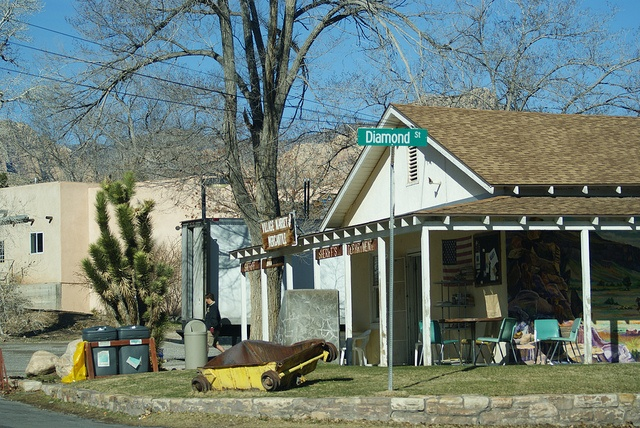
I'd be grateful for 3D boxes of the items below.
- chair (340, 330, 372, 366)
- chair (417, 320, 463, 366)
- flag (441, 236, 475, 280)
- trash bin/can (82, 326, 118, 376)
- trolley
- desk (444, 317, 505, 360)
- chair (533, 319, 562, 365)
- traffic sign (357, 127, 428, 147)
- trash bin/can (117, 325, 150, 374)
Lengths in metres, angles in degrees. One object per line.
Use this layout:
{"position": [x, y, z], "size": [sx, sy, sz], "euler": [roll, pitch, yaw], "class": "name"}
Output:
{"position": [1.272, 5.047, 44.104], "size": [1.223, 1.726, 1.177], "euler": [1, -5, -8], "class": "chair"}
{"position": [3.993, 4.393, 40.513], "size": [1.584, 2.282, 1.594], "euler": [-4, -9, 13], "class": "chair"}
{"position": [4.984, 1.593, 41.603], "size": [0.084, 2.047, 1.463], "euler": [-1, 0, -42], "class": "flag"}
{"position": [-7.550, 4.701, 40.125], "size": [1.065, 1.738, 1.053], "euler": [2, 4, -4], "class": "trash bin/can"}
{"position": [-1.759, 4.559, 36.198], "size": [3.935, 1.751, 2.043], "euler": [7, -13, -34], "class": "trolley"}
{"position": [5.271, 4.547, 40.421], "size": [2.993, 1.966, 1.234], "euler": [-1, -1, -1], "class": "desk"}
{"position": [7.778, 4.305, 39.700], "size": [0.872, 1.503, 0.880], "euler": [-2, -4, 12], "class": "chair"}
{"position": [2.142, -2.314, 34.891], "size": [2.063, 0.628, 0.667], "euler": [1, -13, -14], "class": "traffic sign"}
{"position": [-6.473, 4.761, 40.534], "size": [0.867, 1.730, 1.457], "euler": [5, 20, 8], "class": "trash bin/can"}
